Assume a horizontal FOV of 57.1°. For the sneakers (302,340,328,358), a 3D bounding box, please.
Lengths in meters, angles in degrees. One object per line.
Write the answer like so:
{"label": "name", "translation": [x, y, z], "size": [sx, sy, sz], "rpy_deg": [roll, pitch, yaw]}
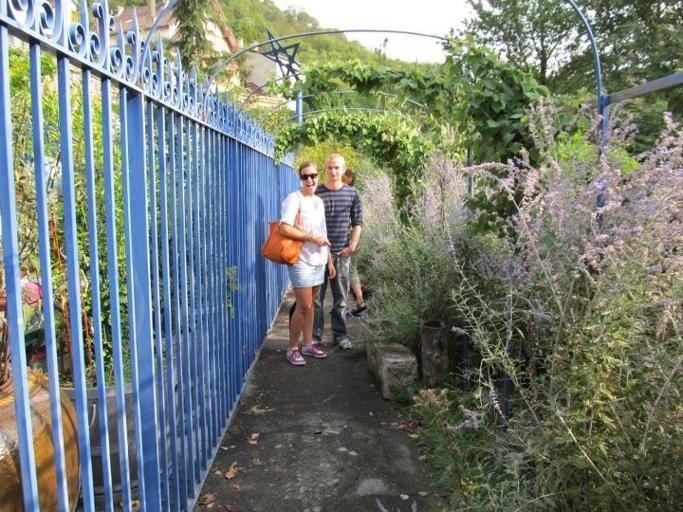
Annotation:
{"label": "sneakers", "translation": [-0.280, 0.925, 6.284], "size": [0.319, 0.170, 0.116], "rpy_deg": [3, 2, 39]}

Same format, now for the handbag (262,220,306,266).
{"label": "handbag", "translation": [-0.508, -0.115, 5.667], "size": [0.335, 0.423, 0.174], "rpy_deg": [3, -10, 14]}

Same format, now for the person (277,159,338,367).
{"label": "person", "translation": [-0.344, 0.091, 5.909], "size": [0.438, 1.903, 0.598], "rpy_deg": [0, 11, -2]}

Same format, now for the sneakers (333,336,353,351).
{"label": "sneakers", "translation": [0.030, 0.906, 6.513], "size": [0.084, 0.125, 0.254], "rpy_deg": [5, -11, -20]}
